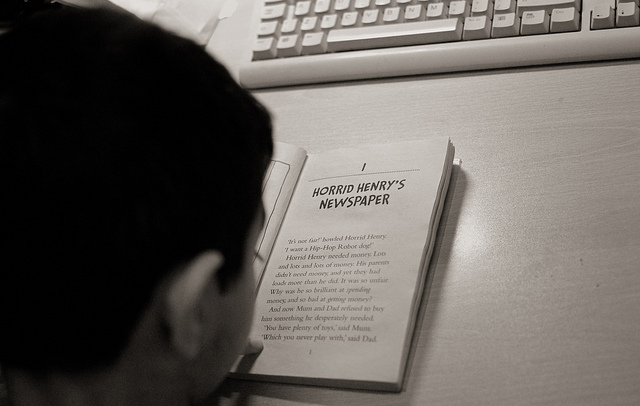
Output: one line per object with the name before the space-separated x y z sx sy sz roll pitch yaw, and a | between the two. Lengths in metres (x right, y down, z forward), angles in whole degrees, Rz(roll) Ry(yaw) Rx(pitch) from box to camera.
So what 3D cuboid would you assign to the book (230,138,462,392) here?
book | 0.046 0.083 0.680 0.284 0.040 0.278 -3 58 39
